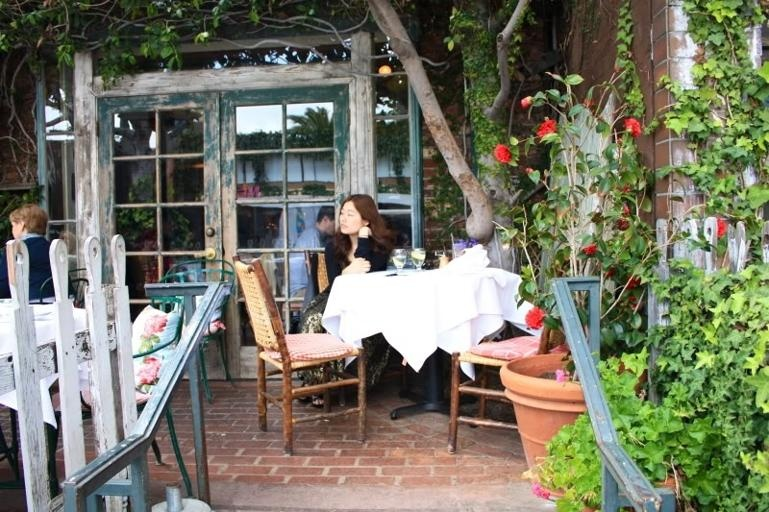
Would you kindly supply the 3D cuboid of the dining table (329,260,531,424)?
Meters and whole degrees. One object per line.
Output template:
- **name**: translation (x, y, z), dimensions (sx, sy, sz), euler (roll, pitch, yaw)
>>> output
- **dining table**: translation (0.416, 0.503, 5.493), dimensions (0.935, 0.644, 0.870), euler (9, -7, -39)

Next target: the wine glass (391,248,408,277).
- **wine glass**: translation (0.132, 0.044, 5.703), dimensions (0.140, 0.242, 0.155), euler (3, 9, 9)

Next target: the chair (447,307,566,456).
- **chair**: translation (0.846, 0.890, 5.315), dimensions (0.961, 0.870, 0.847), euler (-4, 1, -8)

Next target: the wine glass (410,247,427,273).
- **wine glass**: translation (0.228, 0.032, 5.684), dimensions (0.136, 0.223, 0.139), euler (1, 2, -2)

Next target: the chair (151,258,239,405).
- **chair**: translation (-1.543, 0.563, 6.242), dimensions (0.783, 1.068, 0.790), euler (-8, 12, -43)

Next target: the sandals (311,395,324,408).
- **sandals**: translation (-0.507, 1.106, 5.945), dimensions (0.063, 0.041, 0.157), euler (1, -36, -2)

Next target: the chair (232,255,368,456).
- **chair**: translation (-0.594, 0.668, 5.483), dimensions (0.807, 1.259, 0.776), euler (-5, 5, -34)

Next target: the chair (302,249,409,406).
- **chair**: translation (-0.265, 0.520, 6.107), dimensions (0.471, 1.500, 0.683), euler (-11, -16, -4)
